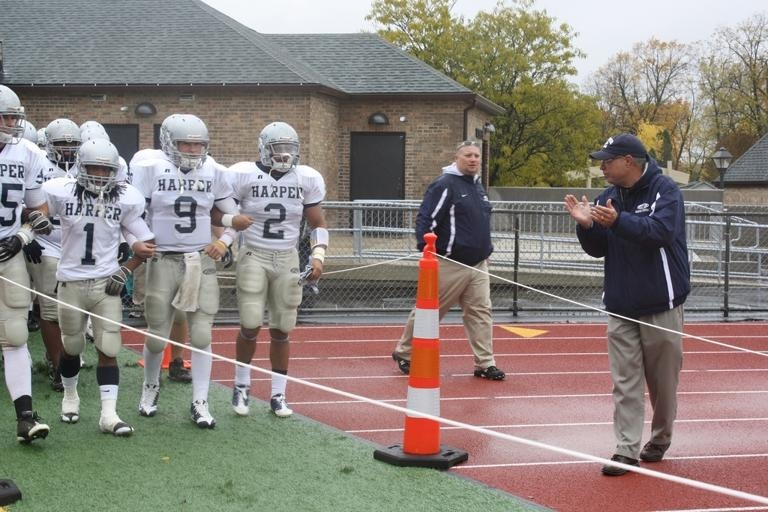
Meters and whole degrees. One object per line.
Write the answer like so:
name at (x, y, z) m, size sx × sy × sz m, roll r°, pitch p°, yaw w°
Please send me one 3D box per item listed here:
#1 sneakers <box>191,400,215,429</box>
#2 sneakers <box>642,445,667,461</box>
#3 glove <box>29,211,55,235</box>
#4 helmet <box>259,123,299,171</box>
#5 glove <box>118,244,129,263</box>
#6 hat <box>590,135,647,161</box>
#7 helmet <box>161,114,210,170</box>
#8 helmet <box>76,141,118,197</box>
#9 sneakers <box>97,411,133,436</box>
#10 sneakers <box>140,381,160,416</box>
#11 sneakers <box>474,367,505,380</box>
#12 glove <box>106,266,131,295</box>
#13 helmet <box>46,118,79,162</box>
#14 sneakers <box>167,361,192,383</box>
sneakers at (-1.793, 1.553, 8.463) m, size 0.234 × 0.224 × 0.294 m, roll 0°, pitch 10°, yaw -13°
sneakers at (2.498, 1.838, 7.978) m, size 0.323 × 0.125 × 0.111 m, roll 5°, pitch 3°, yaw -27°
glove at (-3.288, -0.302, 8.156) m, size 0.194 × 0.231 × 0.114 m, roll -10°, pitch -15°, yaw -27°
helmet at (-1.053, -1.146, 8.858) m, size 0.454 × 0.483 × 0.582 m, roll -3°, pitch 9°, yaw -17°
glove at (-3.340, -0.044, 10.942) m, size 0.065 × 0.244 × 0.268 m, roll 5°, pitch 6°, yaw 16°
hat at (2.141, -0.984, 7.773) m, size 0.428 × 0.200 × 0.264 m, roll -3°, pitch 8°, yaw 4°
helmet at (-2.031, -1.167, 8.593) m, size 0.533 × 0.460 × 0.422 m, roll 16°, pitch 16°, yaw 38°
helmet at (-2.696, -0.829, 8.025) m, size 0.424 × 0.433 × 0.525 m, roll -2°, pitch 15°, yaw -31°
sneakers at (-2.563, 1.606, 8.215) m, size 0.376 × 0.164 × 0.153 m, roll 2°, pitch 5°, yaw 30°
sneakers at (-2.389, 1.459, 8.706) m, size 0.147 × 0.165 × 0.396 m, roll 5°, pitch 22°, yaw -21°
sneakers at (1.284, 1.425, 10.425) m, size 0.337 × 0.152 × 0.154 m, roll -1°, pitch 3°, yaw 32°
glove at (-2.558, 0.248, 8.235) m, size 0.179 × 0.111 × 0.275 m, roll 37°, pitch 41°, yaw 5°
helmet at (-3.567, -1.287, 9.490) m, size 0.421 × 0.430 × 0.522 m, roll -5°, pitch 11°, yaw -31°
sneakers at (-2.359, 1.338, 9.834) m, size 0.426 × 0.232 × 0.167 m, roll 0°, pitch -1°, yaw 29°
